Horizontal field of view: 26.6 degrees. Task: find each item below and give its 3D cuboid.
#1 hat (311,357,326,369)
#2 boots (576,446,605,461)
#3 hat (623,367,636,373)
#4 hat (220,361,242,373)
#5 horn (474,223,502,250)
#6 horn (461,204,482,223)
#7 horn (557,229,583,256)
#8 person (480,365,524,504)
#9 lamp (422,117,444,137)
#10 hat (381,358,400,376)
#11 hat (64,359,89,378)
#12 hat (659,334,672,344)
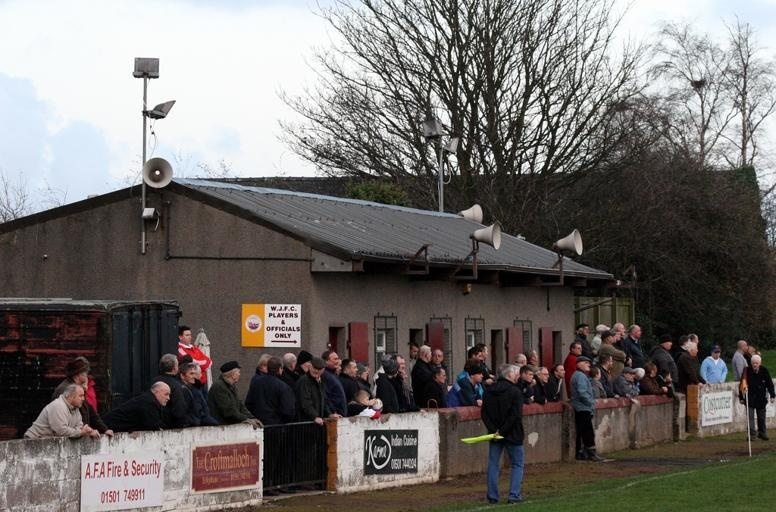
[{"bbox_3d":[-1.712,2.655,40.428,0.391,0.279,0.321,0,-9,-24],"label":"hat"},{"bbox_3d":[5.585,5.440,44.804,0.789,0.565,0.316,-3,-5,9],"label":"boots"},{"bbox_3d":[6.948,3.293,47.021,0.250,0.110,0.174,-3,-1,-30],"label":"hat"},{"bbox_3d":[-3.861,2.713,39.992,0.423,0.170,0.281,-7,5,-39],"label":"hat"},{"bbox_3d":[2.839,-0.568,47.444,0.774,0.653,0.673,-5,-14,32],"label":"horn"},{"bbox_3d":[2.965,-1.464,57.699,0.733,0.626,0.590,0,-3,-6],"label":"horn"},{"bbox_3d":[5.601,-0.417,50.384,0.652,0.740,1.087,-6,-8,15],"label":"horn"},{"bbox_3d":[2.839,4.373,40.161,1.016,3.340,0.524,-4,-8,6],"label":"person"},{"bbox_3d":[1.523,-4.361,56.715,0.734,0.779,0.746,3,3,15],"label":"lamp"},{"bbox_3d":[0.064,2.832,41.804,0.421,0.340,0.360,-2,-6,6],"label":"hat"},{"bbox_3d":[-7.378,2.695,38.227,0.464,0.146,0.474,-11,9,33],"label":"hat"},{"bbox_3d":[8.247,2.496,48.449,0.296,0.218,0.287,-13,3,7],"label":"hat"}]
